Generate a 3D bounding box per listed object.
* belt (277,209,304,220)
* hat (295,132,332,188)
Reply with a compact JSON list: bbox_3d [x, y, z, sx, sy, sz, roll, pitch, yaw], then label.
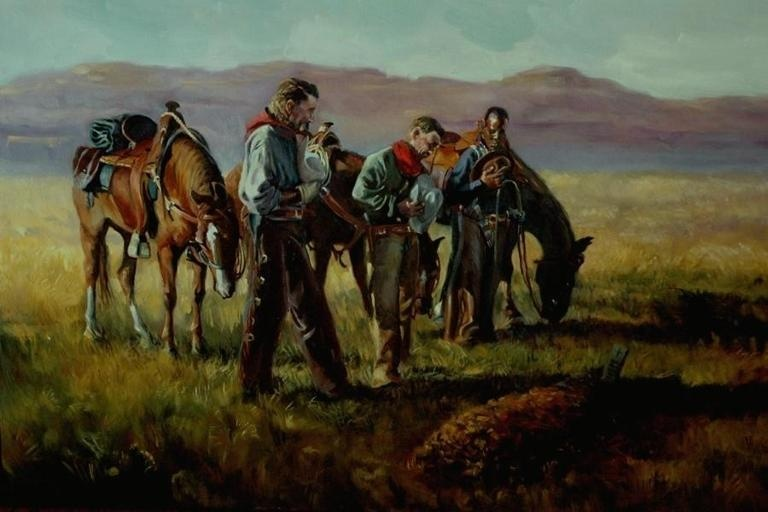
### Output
[{"bbox_3d":[-0.742,-0.333,8.753,0.217,0.091,0.035,0,8,-6],"label":"belt"},{"bbox_3d":[-0.558,-0.755,8.779,0.278,0.373,0.191,6,-15,-32],"label":"hat"}]
